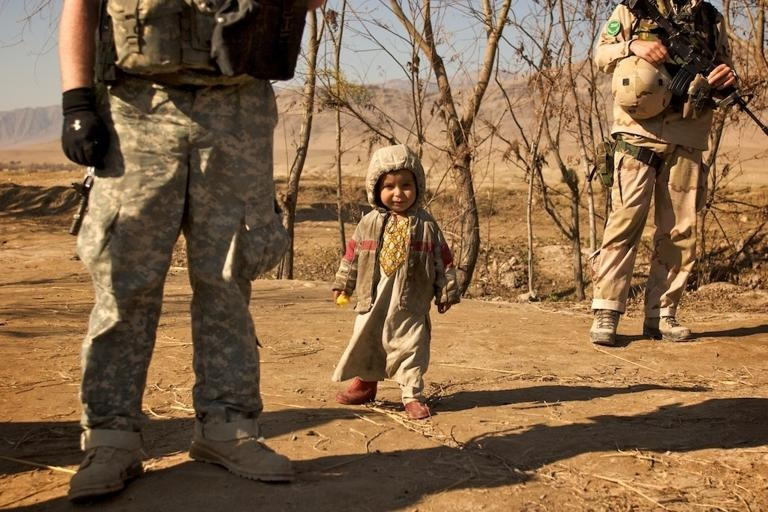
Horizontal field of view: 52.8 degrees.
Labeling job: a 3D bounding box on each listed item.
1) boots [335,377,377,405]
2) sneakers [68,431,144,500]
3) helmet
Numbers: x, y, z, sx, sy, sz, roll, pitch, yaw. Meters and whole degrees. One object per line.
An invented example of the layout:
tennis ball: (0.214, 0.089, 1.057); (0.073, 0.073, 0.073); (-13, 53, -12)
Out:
boots: (-0.179, 0.965, 5.423); (0.319, 0.239, 0.136); (11, -11, -20)
sneakers: (-1.431, 1.068, 3.996); (0.341, 0.304, 0.205); (-2, 14, -10)
helmet: (2.175, -1.466, 6.544); (0.483, 0.434, 0.544); (12, 45, 2)
